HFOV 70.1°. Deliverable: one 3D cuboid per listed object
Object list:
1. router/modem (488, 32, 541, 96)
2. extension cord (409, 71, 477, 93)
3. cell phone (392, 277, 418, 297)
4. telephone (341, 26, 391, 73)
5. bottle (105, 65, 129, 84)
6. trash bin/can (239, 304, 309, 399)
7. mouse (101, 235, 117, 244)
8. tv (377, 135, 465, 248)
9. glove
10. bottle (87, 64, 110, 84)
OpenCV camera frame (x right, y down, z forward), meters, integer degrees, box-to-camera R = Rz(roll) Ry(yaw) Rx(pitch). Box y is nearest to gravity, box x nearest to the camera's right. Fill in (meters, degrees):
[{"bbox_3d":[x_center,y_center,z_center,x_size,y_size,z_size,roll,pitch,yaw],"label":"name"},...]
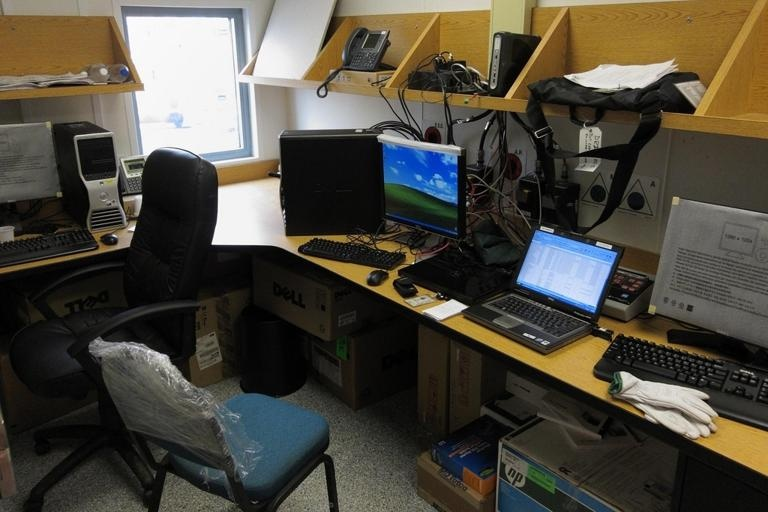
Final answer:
[{"bbox_3d":[0.622,-0.932,2.644,0.108,0.279,0.324,17,22,38],"label":"router/modem"},{"bbox_3d":[0.269,-0.882,2.774,0.168,0.074,0.299,-15,26,-41],"label":"extension cord"},{"bbox_3d":[0.102,0.143,2.536,0.065,0.036,0.109,-9,29,-20],"label":"cell phone"},{"bbox_3d":[-0.105,-1.183,3.128,0.285,0.218,0.197,20,31,36],"label":"telephone"},{"bbox_3d":[-1.589,-1.097,3.291,0.150,0.102,0.067,1,10,-7],"label":"bottle"},{"bbox_3d":[-0.662,0.542,3.422,0.488,0.452,0.456,-13,23,-35],"label":"trash bin/can"},{"bbox_3d":[-1.509,-0.093,3.005,0.064,0.020,0.065,34,31,29],"label":"mouse"},{"bbox_3d":[0.192,-0.330,2.845,0.577,0.491,0.078,19,38,32],"label":"tv"},{"bbox_3d":[0.967,0.512,1.890,0.287,0.089,0.183,14,44,28],"label":"glove"},{"bbox_3d":[-1.674,-1.060,3.190,0.111,0.099,0.100,-13,28,-29],"label":"bottle"}]
